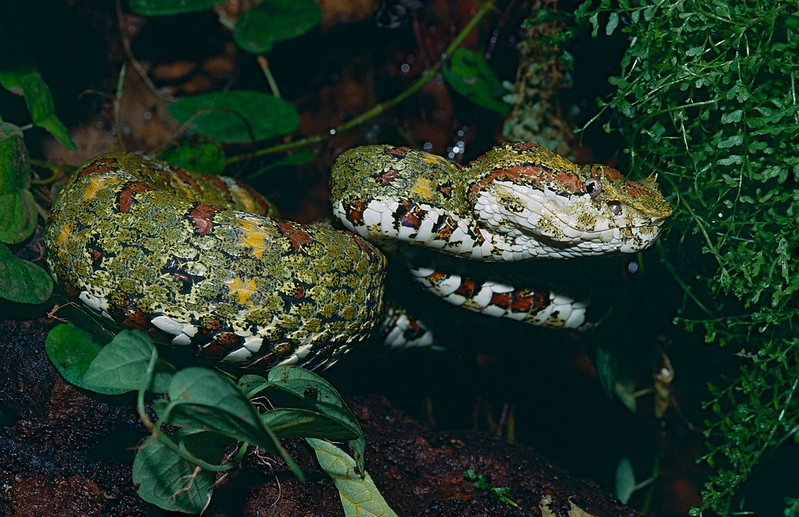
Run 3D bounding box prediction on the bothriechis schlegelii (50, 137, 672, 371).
[{"bbox_3d":[-0.262,-0.087,3.527,2.205,0.955,0.933,-6,52,-18],"label":"bothriechis schlegelii"}]
